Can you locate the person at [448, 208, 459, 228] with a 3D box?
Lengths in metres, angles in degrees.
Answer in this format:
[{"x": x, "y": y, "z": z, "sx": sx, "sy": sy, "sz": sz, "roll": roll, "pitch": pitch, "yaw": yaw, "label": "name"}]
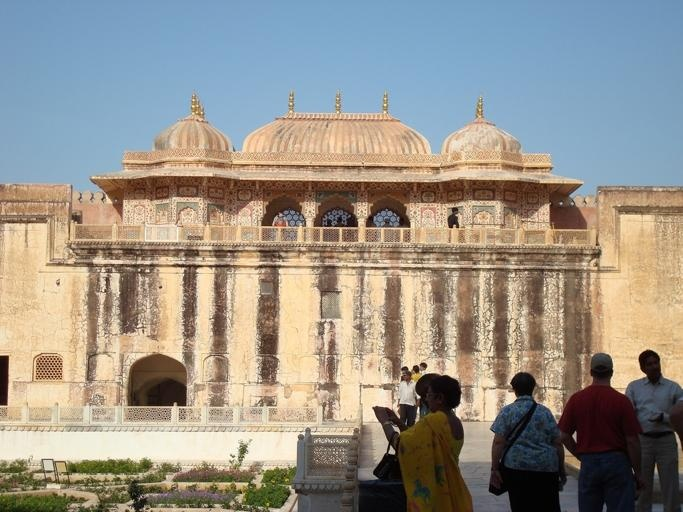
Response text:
[{"x": 3.945, "y": -1.325, "z": 62.653, "sx": 0.407, "sy": 0.832, "sz": 0.858, "roll": -2, "pitch": -12, "yaw": 5, "label": "person"}]
